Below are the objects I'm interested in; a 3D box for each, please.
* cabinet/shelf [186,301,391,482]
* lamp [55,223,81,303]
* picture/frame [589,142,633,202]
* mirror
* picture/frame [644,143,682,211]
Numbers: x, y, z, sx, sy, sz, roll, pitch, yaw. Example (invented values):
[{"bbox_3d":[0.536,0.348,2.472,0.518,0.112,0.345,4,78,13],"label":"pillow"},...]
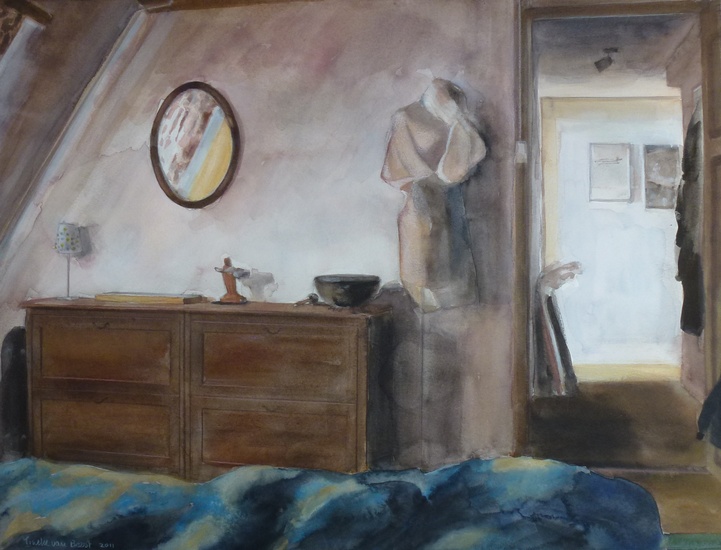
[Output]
[{"bbox_3d":[-0.441,0.644,5.154,0.753,0.926,0.329,0,-2,8],"label":"cabinet/shelf"},{"bbox_3d":[-1.694,-0.081,5.513,0.133,0.427,0.121,1,-3,-18],"label":"lamp"},{"bbox_3d":[1.392,-0.583,5.329,0.242,0.390,0.037,3,36,19],"label":"picture/frame"},{"bbox_3d":[-0.928,-0.744,5.467,0.539,0.850,0.059,1,0,3],"label":"mirror"},{"bbox_3d":[1.670,-0.545,5.327,0.193,0.426,0.041,5,38,21],"label":"picture/frame"}]
